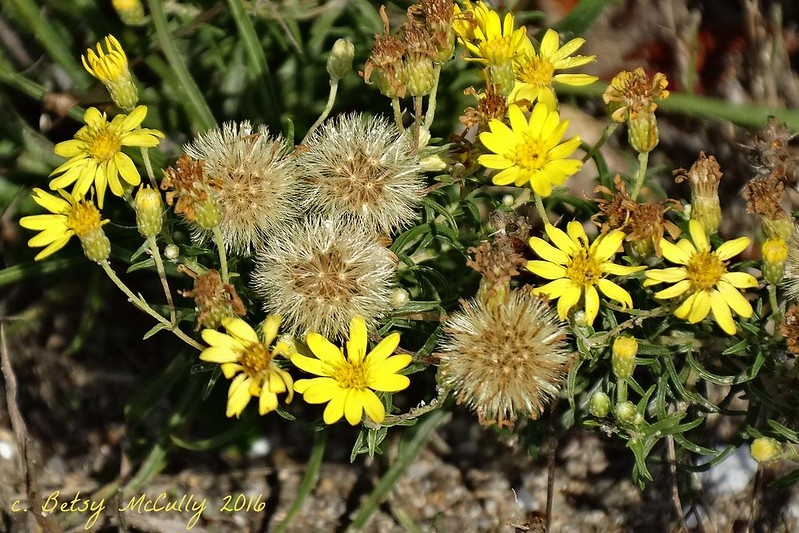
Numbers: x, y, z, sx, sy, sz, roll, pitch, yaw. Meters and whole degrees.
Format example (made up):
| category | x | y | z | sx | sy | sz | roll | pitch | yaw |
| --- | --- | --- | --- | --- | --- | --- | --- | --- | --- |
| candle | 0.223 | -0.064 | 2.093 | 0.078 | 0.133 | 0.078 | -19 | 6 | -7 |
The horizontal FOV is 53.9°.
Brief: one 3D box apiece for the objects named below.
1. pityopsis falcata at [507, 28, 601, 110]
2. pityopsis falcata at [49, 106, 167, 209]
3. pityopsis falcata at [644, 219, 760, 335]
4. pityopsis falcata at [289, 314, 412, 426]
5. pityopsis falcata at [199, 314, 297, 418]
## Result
| category | x | y | z | sx | sy | sz | roll | pitch | yaw |
| --- | --- | --- | --- | --- | --- | --- | --- | --- | --- |
| pityopsis falcata | 0.541 | -0.707 | 2.903 | 0.290 | 0.100 | 0.325 | 23 | 67 | 14 |
| pityopsis falcata | -0.975 | -0.392 | 2.720 | 0.378 | 0.438 | 0.157 | -37 | 84 | -26 |
| pityopsis falcata | 1.043 | 0.062 | 2.693 | 0.374 | 0.417 | 0.145 | 5 | 104 | 36 |
| pityopsis falcata | -0.151 | 0.350 | 2.571 | 0.384 | 0.140 | 0.345 | -17 | 83 | -2 |
| pityopsis falcata | -0.486 | 0.316 | 2.534 | 0.270 | 0.140 | 0.328 | -22 | 83 | -2 |
